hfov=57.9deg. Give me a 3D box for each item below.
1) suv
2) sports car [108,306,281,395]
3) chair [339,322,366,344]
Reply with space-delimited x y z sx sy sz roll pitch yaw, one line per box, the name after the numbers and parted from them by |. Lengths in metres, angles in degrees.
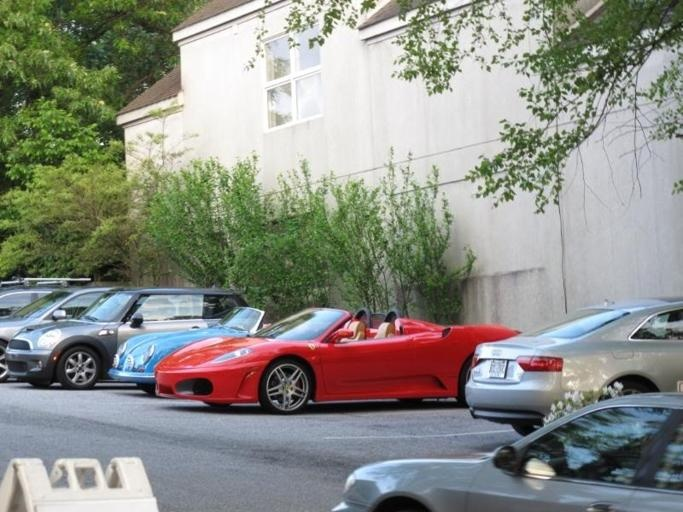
-4.839 1.621 14.207 5.153 1.804 2.267 0 -3 -23 | suv
-2.857 1.763 12.322 3.284 1.140 1.530 -1 -2 -26 | sports car
0.269 1.330 10.863 0.365 0.385 0.289 12 -14 -37 | chair
